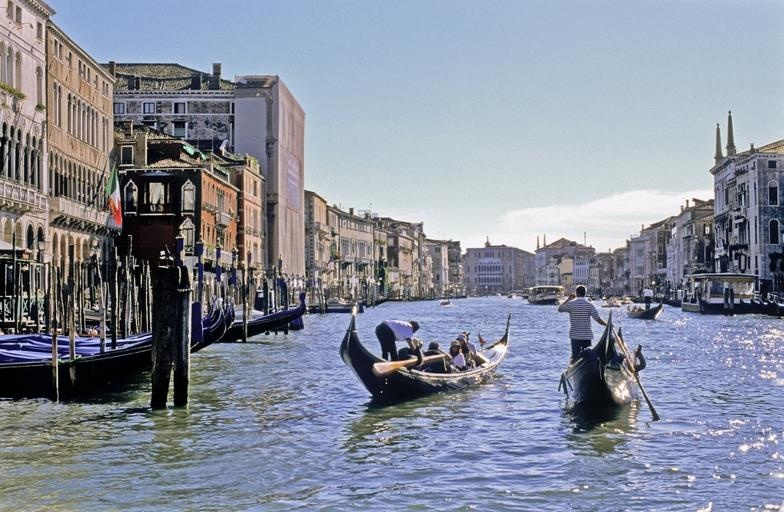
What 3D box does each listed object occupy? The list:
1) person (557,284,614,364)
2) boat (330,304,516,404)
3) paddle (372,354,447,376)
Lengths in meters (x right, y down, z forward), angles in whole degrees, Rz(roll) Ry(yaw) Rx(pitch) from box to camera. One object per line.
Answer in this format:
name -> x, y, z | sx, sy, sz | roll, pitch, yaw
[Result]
person -> 6.177, 2.126, 37.004 | 1.092, 2.626, 1.397 | 0, -1, 27
boat -> 0.444, 4.101, 41.829 | 4.954, 3.771, 9.979 | -1, -3, -17
paddle -> 0.675, 3.738, 39.776 | 2.996, 0.265, 0.783 | -12, 17, -40
